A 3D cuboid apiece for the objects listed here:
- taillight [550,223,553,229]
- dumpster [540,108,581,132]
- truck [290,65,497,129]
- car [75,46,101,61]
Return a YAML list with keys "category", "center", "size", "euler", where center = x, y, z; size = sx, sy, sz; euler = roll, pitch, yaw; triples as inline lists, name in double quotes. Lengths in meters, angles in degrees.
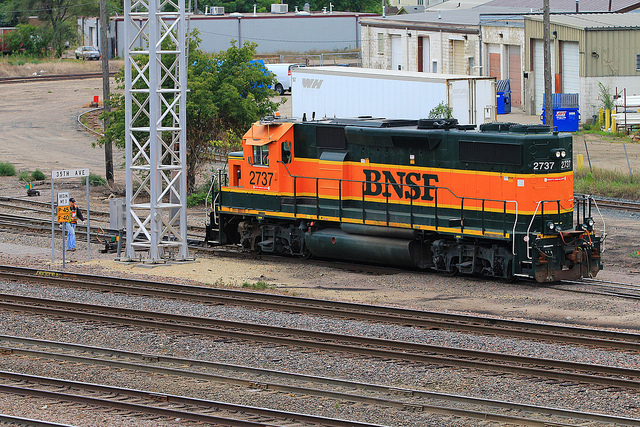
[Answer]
- category: "taillight"
  center: [7.952, 0.431, 42.058]
  size: [0.108, 0.194, 0.045]
  euler: [-3, 9, -16]
- category: "dumpster"
  center: [13.867, -5.358, 69.248]
  size: [1.925, 1.302, 1.152]
  euler: [-8, 11, -41]
- category: "truck"
  center: [2.951, -5.633, 57.035]
  size: [4.599, 2.525, 13.921]
  euler: [-5, 9, -28]
- category: "car"
  center: [-21.801, -15.159, 113.751]
  size: [1.404, 0.887, 2.712]
  euler: [-3, 4, -32]
